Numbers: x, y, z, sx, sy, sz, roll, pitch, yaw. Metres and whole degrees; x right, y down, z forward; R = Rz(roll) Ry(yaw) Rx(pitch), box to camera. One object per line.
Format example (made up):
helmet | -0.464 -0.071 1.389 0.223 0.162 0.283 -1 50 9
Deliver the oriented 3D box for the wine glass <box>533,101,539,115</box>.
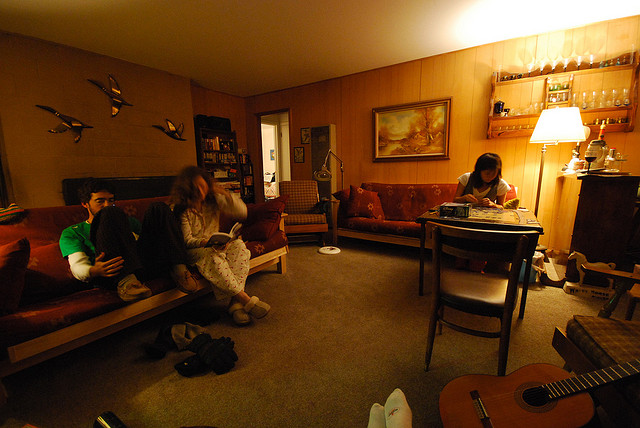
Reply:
wine glass | 2.774 -1.370 5.363 0.068 0.140 0.055 3 15 23

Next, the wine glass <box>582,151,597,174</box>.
wine glass | 2.944 -0.561 4.551 0.115 0.227 0.267 6 16 33

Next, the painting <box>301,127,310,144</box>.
painting | -0.269 -1.389 7.429 0.189 0.282 0.032 10 19 42

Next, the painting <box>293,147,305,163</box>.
painting | -0.377 -1.090 7.576 0.266 0.296 0.031 7 15 30

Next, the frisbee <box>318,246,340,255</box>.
frisbee | 0.118 0.498 5.741 0.295 0.036 0.228 -3 13 -1

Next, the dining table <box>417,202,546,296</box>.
dining table | 1.621 0.139 4.229 1.054 0.695 1.155 2 4 26

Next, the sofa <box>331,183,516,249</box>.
sofa | 1.006 -0.005 6.009 1.626 0.807 1.105 5 16 30

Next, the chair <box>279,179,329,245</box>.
chair | -0.289 -0.037 6.179 0.791 0.850 0.955 1 11 7

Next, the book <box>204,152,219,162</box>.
book | -1.953 -1.012 7.442 0.164 0.211 0.226 0 4 25

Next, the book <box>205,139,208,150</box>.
book | -2.013 -1.222 7.352 0.020 0.172 0.068 3 15 23

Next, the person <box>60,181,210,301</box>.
person | -1.852 0.203 4.033 1.445 1.057 1.045 -1 8 39

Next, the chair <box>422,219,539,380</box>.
chair | 1.481 0.692 4.022 0.983 1.455 1.063 3 18 14

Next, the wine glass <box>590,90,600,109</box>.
wine glass | 3.349 -1.407 5.099 0.101 0.202 0.087 5 16 31

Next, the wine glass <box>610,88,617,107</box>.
wine glass | 3.543 -1.398 5.018 0.071 0.210 0.108 -1 14 10
